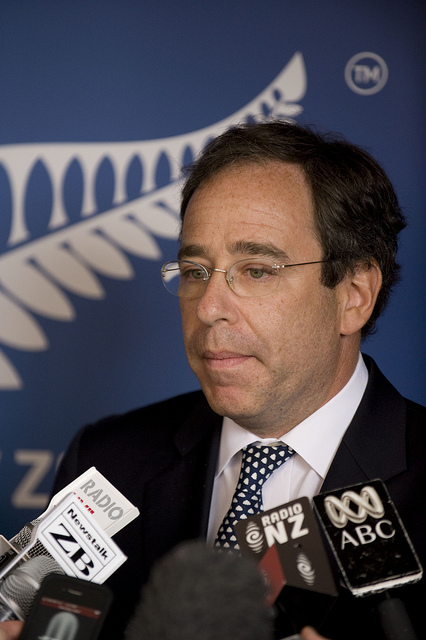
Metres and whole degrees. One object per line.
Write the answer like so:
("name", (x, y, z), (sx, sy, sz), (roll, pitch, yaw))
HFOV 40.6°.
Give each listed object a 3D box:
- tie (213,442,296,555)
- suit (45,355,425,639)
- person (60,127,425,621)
("tie", (0.102, 0.437, 1.498), (0.191, 0.271, 0.095), (14, -41, 4))
("suit", (0.023, 0.491, 2.032), (1.205, 0.709, 1.001), (-3, 16, -5))
("person", (0.130, 0.088, 1.701), (0.981, 1.057, 0.688), (-3, 1, -3))
